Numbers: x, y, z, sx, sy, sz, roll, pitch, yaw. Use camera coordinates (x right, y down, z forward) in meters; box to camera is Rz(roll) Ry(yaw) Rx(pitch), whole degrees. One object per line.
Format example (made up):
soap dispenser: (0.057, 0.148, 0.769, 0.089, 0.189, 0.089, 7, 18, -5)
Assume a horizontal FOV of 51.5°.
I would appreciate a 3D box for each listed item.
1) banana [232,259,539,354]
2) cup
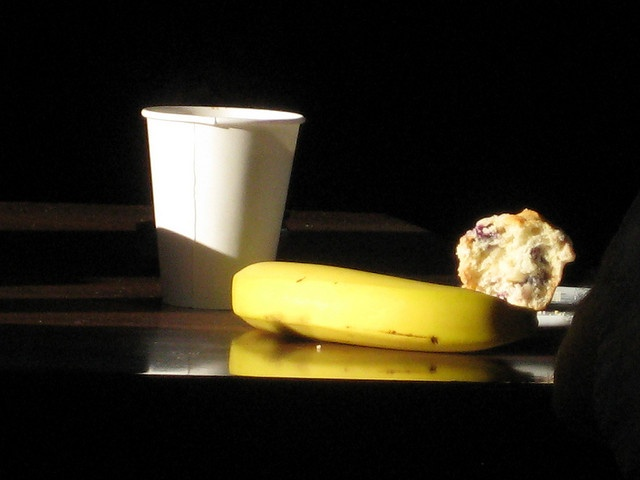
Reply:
banana: (0.060, 0.080, 0.840, 0.418, 0.125, 0.132, 5, -8, 13)
cup: (-0.104, -0.051, 1.074, 0.273, 0.300, 0.273, 4, 5, 0)
